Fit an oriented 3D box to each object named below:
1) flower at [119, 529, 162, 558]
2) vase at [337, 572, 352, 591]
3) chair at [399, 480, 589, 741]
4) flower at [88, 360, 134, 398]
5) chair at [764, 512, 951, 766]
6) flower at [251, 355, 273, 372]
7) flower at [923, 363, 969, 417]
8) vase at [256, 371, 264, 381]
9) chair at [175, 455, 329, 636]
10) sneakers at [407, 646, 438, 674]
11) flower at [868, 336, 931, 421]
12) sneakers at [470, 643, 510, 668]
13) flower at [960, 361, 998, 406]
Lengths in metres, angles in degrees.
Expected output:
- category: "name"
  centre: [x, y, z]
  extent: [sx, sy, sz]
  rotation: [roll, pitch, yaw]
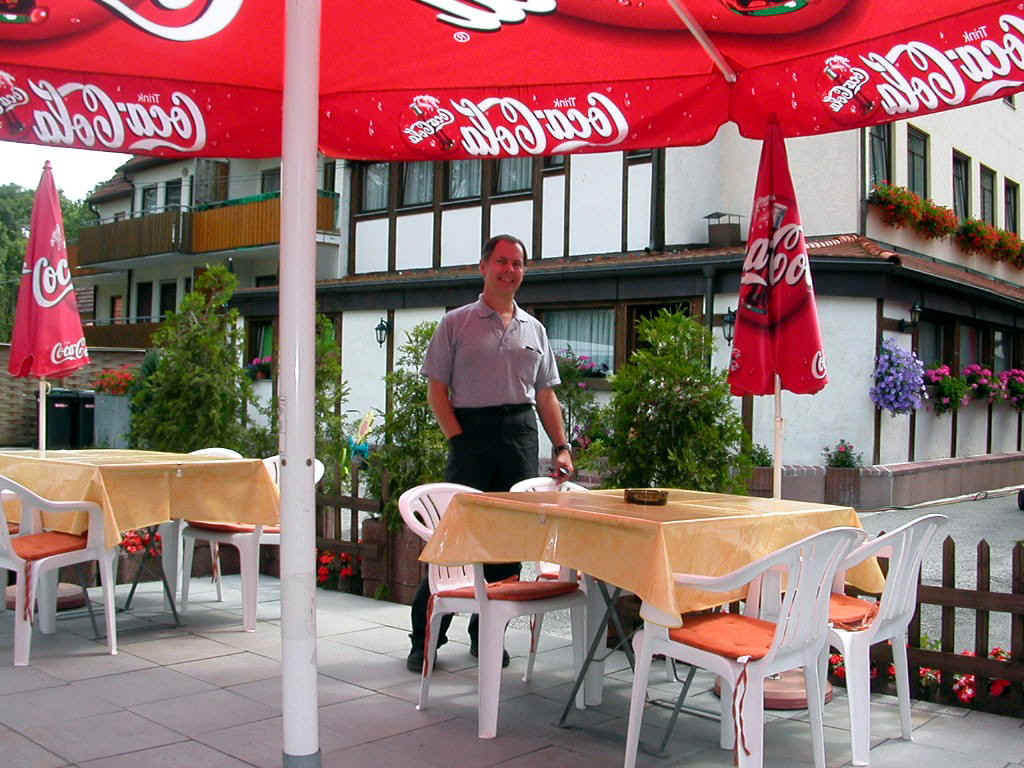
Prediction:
- category: "flower"
  centre: [-2.909, 1.233, 9.374]
  extent: [0.240, 0.336, 0.204]
  rotation: [7, -44, -13]
- category: "vase"
  centre: [-1.383, 1.630, 9.850]
  extent: [0.114, 0.235, 0.116]
  rotation: [0, 2, -28]
- category: "chair"
  centre: [-0.096, 1.311, 7.389]
  extent: [1.329, 1.625, 1.153]
  rotation: [4, -7, -40]
- category: "flower"
  centre: [-8.315, -0.070, 24.650]
  extent: [0.644, 0.535, 0.686]
  rotation: [5, 8, 35]
- category: "chair"
  centre: [2.015, 1.367, 6.974]
  extent: [1.045, 1.635, 1.056]
  rotation: [-1, 1, -43]
- category: "flower"
  centre: [-4.827, -0.382, 23.075]
  extent: [0.350, 0.325, 0.394]
  rotation: [-2, -2, 3]
- category: "flower"
  centre: [6.880, 0.103, 18.957]
  extent: [0.734, 1.064, 0.898]
  rotation: [2, 3, 28]
- category: "vase"
  centre: [-4.854, -0.151, 22.986]
  extent: [0.141, 0.163, 0.147]
  rotation: [2, -3, -36]
- category: "chair"
  centre: [-1.764, 1.094, 7.973]
  extent: [1.109, 1.437, 0.961]
  rotation: [-1, -8, 32]
- category: "sneakers"
  centre: [-0.573, 1.788, 7.675]
  extent: [0.254, 0.193, 0.139]
  rotation: [-12, -13, 37]
- category: "flower"
  centre: [5.331, -0.078, 16.511]
  extent: [0.457, 1.138, 0.787]
  rotation: [-7, -2, 33]
- category: "sneakers"
  centre: [-0.148, 1.809, 7.944]
  extent: [0.123, 0.174, 0.368]
  rotation: [2, -4, -39]
- category: "flower"
  centre: [8.062, -0.017, 20.544]
  extent: [0.785, 0.665, 0.696]
  rotation: [4, 3, 44]
